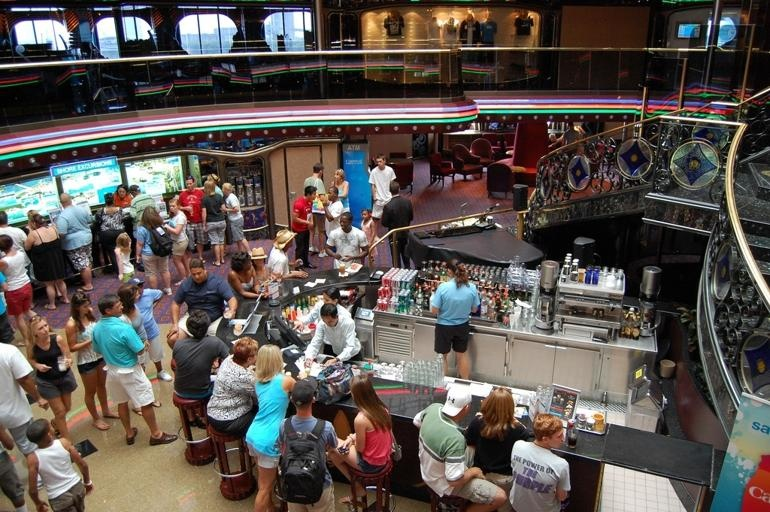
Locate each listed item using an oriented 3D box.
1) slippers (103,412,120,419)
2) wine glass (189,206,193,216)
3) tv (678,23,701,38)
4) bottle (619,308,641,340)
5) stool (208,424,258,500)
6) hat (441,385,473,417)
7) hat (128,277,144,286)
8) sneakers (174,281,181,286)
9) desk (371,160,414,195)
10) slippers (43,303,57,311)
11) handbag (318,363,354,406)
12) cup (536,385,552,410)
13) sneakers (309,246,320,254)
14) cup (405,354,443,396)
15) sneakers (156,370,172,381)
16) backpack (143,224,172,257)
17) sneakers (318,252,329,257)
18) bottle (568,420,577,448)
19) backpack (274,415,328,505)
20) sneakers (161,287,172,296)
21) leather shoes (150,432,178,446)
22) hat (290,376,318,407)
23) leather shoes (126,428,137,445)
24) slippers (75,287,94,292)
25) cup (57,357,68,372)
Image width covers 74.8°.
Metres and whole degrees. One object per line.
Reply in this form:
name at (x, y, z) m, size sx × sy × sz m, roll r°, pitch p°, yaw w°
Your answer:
slippers at (-4.269, 2.490, 7.867) m, size 0.287 × 0.119 × 0.085 m, roll 5°, pitch 17°, yaw -15°
wine glass at (-4.691, -1.105, 12.093) m, size 0.098 × 0.137 × 0.036 m, roll 3°, pitch 2°, yaw 31°
tv at (9.889, -7.340, 16.324) m, size 0.034 × 0.484 × 0.762 m, roll -15°, pitch 26°, yaw -30°
bottle at (3.807, 1.053, 7.871) m, size 0.263 × 0.469 × 0.260 m, roll 2°, pitch 2°, yaw 0°
stool at (-2.104, 2.593, 6.834) m, size 0.509 × 1.117 × 0.823 m, roll -8°, pitch 15°, yaw -22°
hat at (0.813, 1.637, 5.751) m, size 0.287 × 0.262 × 0.410 m, roll 2°, pitch 14°, yaw 17°
hat at (-4.086, 0.415, 8.203) m, size 0.139 × 0.123 × 0.212 m, roll 16°, pitch 32°, yaw 25°
sneakers at (-4.425, 0.581, 10.660) m, size 0.141 × 0.055 × 0.142 m, roll -16°, pitch 4°, yaw 43°
desk at (0.345, -2.734, 16.805) m, size 1.139 × 1.470 × 1.234 m, roll 4°, pitch 44°, yaw 6°
slippers at (-7.055, 1.058, 10.546) m, size 0.221 × 0.051 × 0.110 m, roll 12°, pitch 17°, yaw -1°
handbag at (-0.651, 1.635, 6.545) m, size 0.372 × 0.198 × 0.498 m, roll -2°, pitch 25°, yaw 12°
cup at (2.020, 1.809, 6.412) m, size 0.202 × 0.248 × 0.392 m, roll 3°, pitch 14°, yaw 18°
sneakers at (-1.816, -0.168, 12.828) m, size 0.128 × 0.245 × 0.160 m, roll 6°, pitch 51°, yaw 32°
cup at (0.523, 1.618, 6.892) m, size 0.426 × 0.307 × 0.421 m, roll 1°, pitch 13°, yaw 0°
sneakers at (-3.844, 2.066, 8.701) m, size 0.273 × 0.107 × 0.126 m, roll 12°, pitch 16°, yaw 26°
backpack at (-4.705, -0.353, 10.514) m, size 0.626 × 0.609 × 0.427 m, roll 8°, pitch 25°, yaw 2°
sneakers at (-1.589, -0.038, 12.699) m, size 0.165 × 0.143 × 0.076 m, roll -6°, pitch 2°, yaw 45°
bottle at (2.202, 2.090, 5.941) m, size 0.095 × 0.286 × 0.140 m, roll 2°, pitch 15°, yaw 15°
backpack at (-0.900, 2.229, 5.460) m, size 0.523 × 0.842 × 0.416 m, roll -4°, pitch 14°, yaw -7°
sneakers at (-4.867, 0.778, 11.171) m, size 0.107 × 0.117 × 0.265 m, roll -17°, pitch 19°, yaw -39°
leather shoes at (-3.303, 2.705, 7.495) m, size 0.370 × 0.144 × 0.184 m, roll 3°, pitch 22°, yaw -14°
hat at (-0.905, 1.479, 5.484) m, size 0.227 × 0.238 × 0.228 m, roll -2°, pitch 14°, yaw 0°
leather shoes at (-3.768, 2.670, 7.490) m, size 0.087 × 0.097 × 0.229 m, roll 1°, pitch 25°, yaw -3°
slippers at (-6.704, 0.762, 11.179) m, size 0.375 × 0.094 × 0.145 m, roll 1°, pitch 18°, yaw -15°
cup at (-4.460, 1.491, 6.937) m, size 0.117 × 0.233 × 0.070 m, roll -11°, pitch 17°, yaw -32°
